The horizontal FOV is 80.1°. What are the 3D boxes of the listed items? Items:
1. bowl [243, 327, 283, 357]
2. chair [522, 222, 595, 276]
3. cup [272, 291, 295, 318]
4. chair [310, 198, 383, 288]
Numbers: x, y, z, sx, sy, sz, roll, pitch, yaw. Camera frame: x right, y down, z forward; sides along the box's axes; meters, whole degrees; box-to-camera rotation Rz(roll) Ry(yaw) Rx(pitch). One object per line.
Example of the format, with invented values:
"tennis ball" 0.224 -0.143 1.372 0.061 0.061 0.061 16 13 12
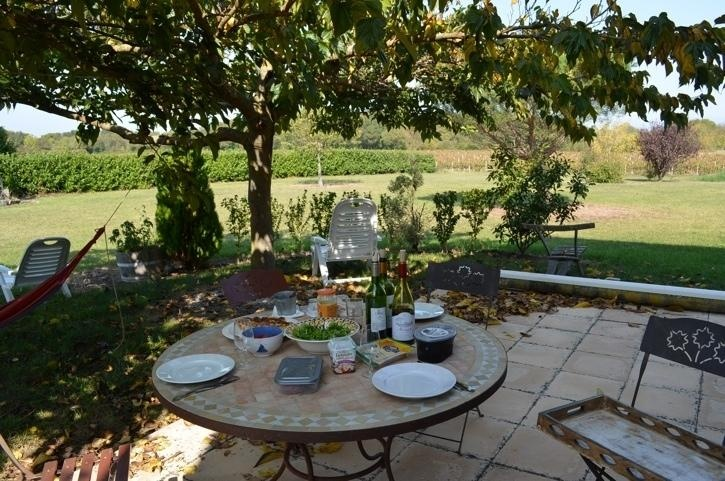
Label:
"bowl" -0.635 0.632 2.722 0.205 0.105 0.197 -2 4 0
"chair" 3.331 0.170 7.256 1.163 0.841 1.187 -1 -1 30
"cup" -0.584 0.471 3.183 0.137 0.136 0.207 -1 0 -2
"chair" -0.220 0.026 6.828 1.366 1.686 1.256 -2 12 -13
